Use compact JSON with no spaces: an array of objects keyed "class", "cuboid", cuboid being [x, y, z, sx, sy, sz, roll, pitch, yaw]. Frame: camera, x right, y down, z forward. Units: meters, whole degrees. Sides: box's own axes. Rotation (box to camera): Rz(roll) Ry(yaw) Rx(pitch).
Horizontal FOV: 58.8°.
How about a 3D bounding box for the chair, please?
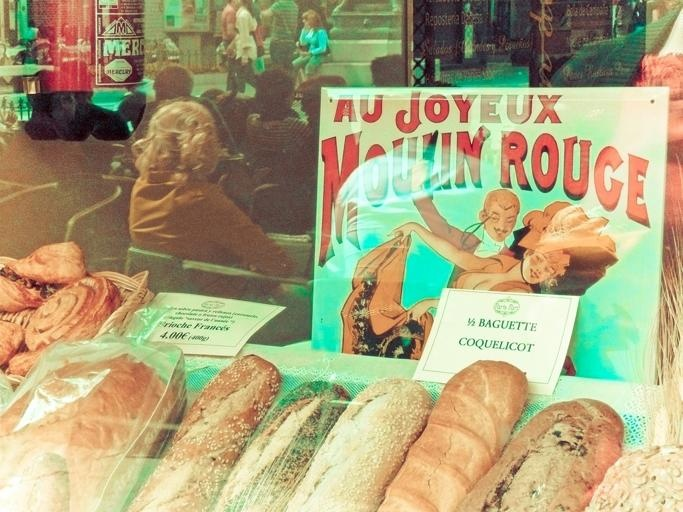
[{"class":"chair","cuboid":[-0.335,-0.043,1.531,0.477,0.717,0.552,2,-20,18]}]
